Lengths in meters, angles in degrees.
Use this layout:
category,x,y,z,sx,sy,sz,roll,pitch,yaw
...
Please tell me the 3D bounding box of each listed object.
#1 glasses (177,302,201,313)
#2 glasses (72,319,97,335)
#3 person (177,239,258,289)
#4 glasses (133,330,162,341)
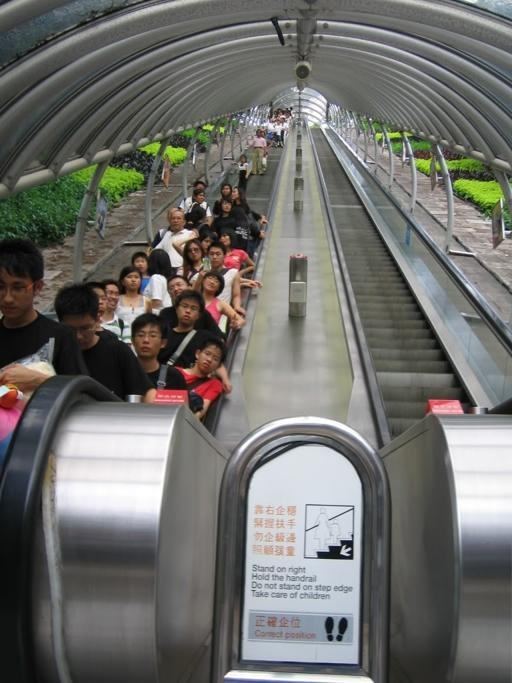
category,x,y,z,sx,sy,sz,roll,pitch,yaw
glasses,-0.734,-0.390,5.417,0.234,0.096,0.121,5,-14,-11
glasses,-1.140,-0.099,3.258,0.091,0.058,0.114,2,-13,-6
person,-0.660,-1.478,8.836,0.984,0.621,1.295,-5,-2,8
glasses,-0.899,-0.044,4.137,0.120,0.083,0.153,0,-7,-2
